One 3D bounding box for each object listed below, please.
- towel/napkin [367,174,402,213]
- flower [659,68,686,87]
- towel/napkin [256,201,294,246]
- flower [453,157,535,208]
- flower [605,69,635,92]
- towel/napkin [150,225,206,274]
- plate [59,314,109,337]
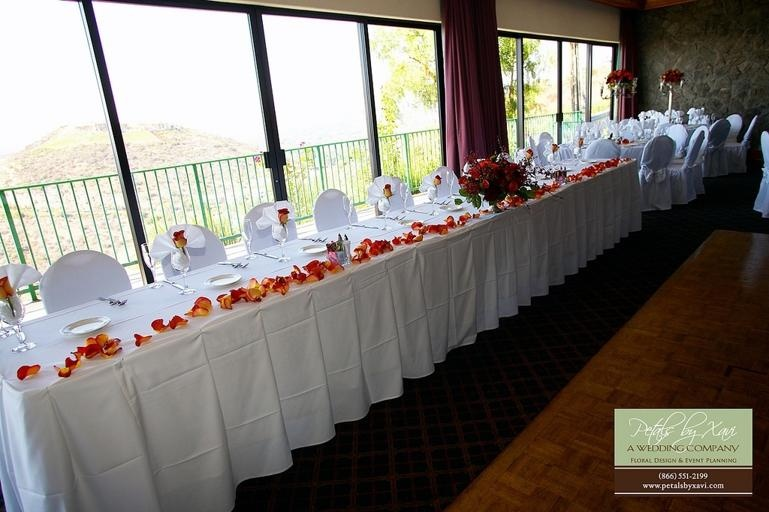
[{"bbox_3d":[0.056,-0.586,4.576,0.378,0.265,0.401,4,14,33],"label":"towel/napkin"},{"bbox_3d":[5.902,-3.664,9.782,0.404,0.397,3.299,2,18,31],"label":"flower"},{"bbox_3d":[-0.877,-0.253,3.775,0.363,0.398,0.165,-4,2,3],"label":"towel/napkin"},{"bbox_3d":[0.943,-0.624,4.007,0.495,0.350,0.504,-9,4,39],"label":"flower"},{"bbox_3d":[4.060,-3.047,8.276,0.412,0.319,0.454,3,19,33],"label":"flower"},{"bbox_3d":[-1.441,-0.040,3.357,0.295,0.402,0.164,-31,35,-23],"label":"towel/napkin"},{"bbox_3d":[-1.717,0.402,2.754,0.241,0.057,0.177,-19,19,-35],"label":"plate"}]
